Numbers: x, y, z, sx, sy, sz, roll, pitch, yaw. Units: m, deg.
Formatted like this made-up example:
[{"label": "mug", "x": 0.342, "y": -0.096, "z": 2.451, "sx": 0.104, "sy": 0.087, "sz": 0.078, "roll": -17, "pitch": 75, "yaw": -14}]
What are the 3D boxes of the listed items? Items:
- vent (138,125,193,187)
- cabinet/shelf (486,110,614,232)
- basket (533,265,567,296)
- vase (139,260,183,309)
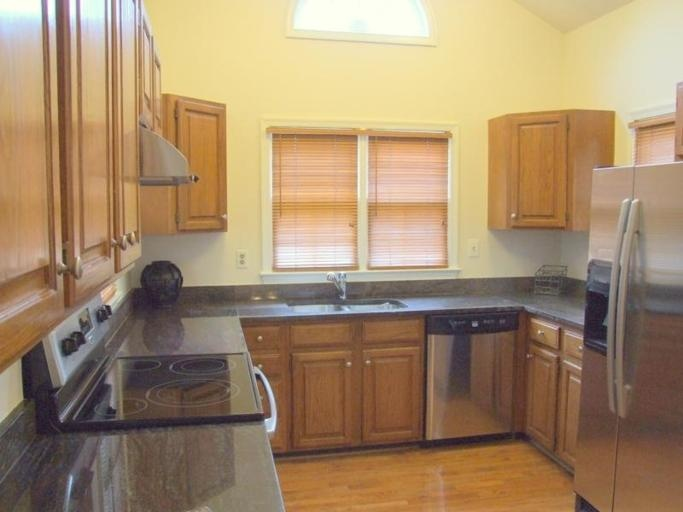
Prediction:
[{"label": "vent", "x": -0.683, "y": -0.390, "z": 2.235, "sx": 0.223, "sy": 0.237, "sz": 0.338, "roll": -1, "pitch": 1, "yaw": 3}, {"label": "cabinet/shelf", "x": 1.483, "y": -0.618, "z": 3.960, "sx": 0.862, "sy": 0.852, "sz": 0.351, "roll": 3, "pitch": 4, "yaw": 35}, {"label": "basket", "x": 1.640, "y": 0.184, "z": 4.280, "sx": 0.230, "sy": 0.235, "sz": 0.236, "roll": 0, "pitch": -1, "yaw": 9}, {"label": "vase", "x": -1.156, "y": 0.146, "z": 3.501, "sx": 0.282, "sy": 0.337, "sz": 0.283, "roll": 8, "pitch": 10, "yaw": 43}]
